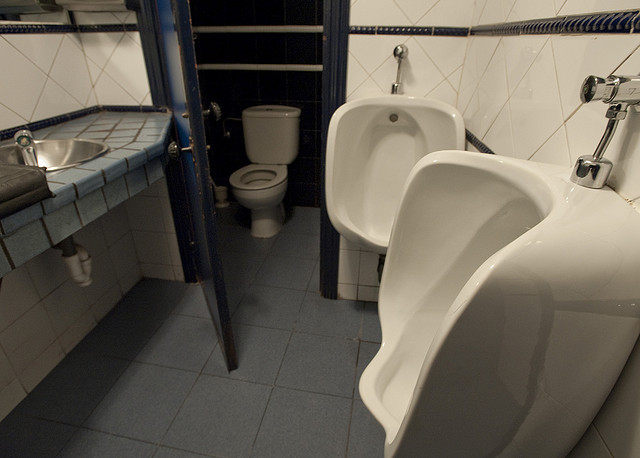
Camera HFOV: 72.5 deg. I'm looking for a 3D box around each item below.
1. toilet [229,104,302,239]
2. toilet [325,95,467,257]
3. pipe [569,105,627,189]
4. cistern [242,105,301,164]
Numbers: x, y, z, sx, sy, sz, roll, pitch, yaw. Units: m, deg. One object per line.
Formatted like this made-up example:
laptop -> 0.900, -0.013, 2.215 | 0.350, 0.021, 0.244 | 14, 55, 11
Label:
toilet -> -0.382, -0.418, 3.072 | 0.458, 0.782, 0.635 | 3, 31, -1
toilet -> 0.251, -0.250, 1.845 | 0.580, 0.738, 0.295 | 3, 19, 13
pipe -> 0.588, -0.174, 0.905 | 0.069, 0.165, 0.068 | -15, 37, -21
cistern -> -0.357, -0.692, 3.188 | 0.435, 0.389, 0.250 | 2, 26, 1
